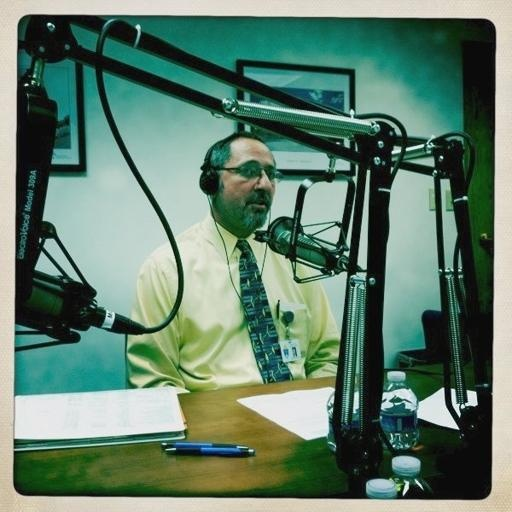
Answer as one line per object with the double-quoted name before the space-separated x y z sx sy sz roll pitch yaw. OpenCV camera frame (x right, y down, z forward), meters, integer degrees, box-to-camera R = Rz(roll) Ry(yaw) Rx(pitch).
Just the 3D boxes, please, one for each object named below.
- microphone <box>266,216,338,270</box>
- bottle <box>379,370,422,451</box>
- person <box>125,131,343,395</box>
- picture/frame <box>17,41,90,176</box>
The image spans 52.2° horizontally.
"microphone" 0.099 -0.039 1.228 0.108 0.116 0.272 0 10 -12
"bottle" 0.258 0.299 0.982 0.075 0.140 0.083 1 -17 22
"person" -0.055 0.088 1.660 0.665 0.960 0.519 5 -18 -20
"picture/frame" -0.599 -0.432 1.648 0.120 0.356 0.120 -2 9 -21
